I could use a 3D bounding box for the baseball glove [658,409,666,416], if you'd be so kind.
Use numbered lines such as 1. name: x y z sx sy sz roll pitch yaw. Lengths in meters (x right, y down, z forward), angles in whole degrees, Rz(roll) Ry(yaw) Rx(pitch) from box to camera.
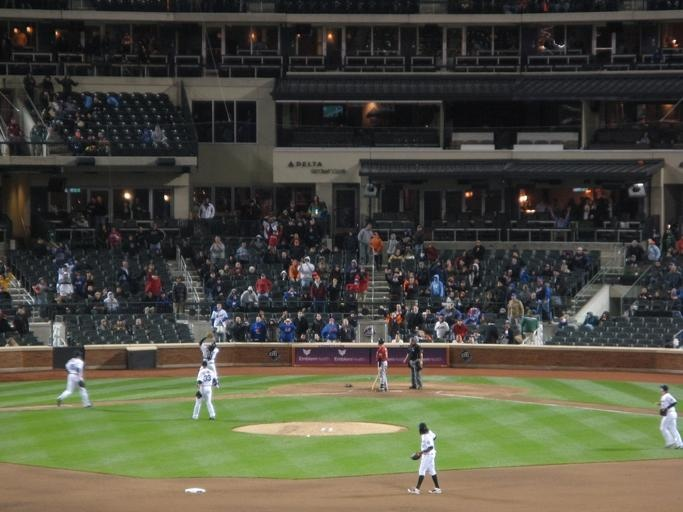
1. baseball glove: 12.951 6.333 69.815 0.228 0.258 0.245 0 5 -13

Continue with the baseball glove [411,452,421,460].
1. baseball glove: 2.748 7.620 65.189 0.258 0.190 0.366 -5 1 -25
